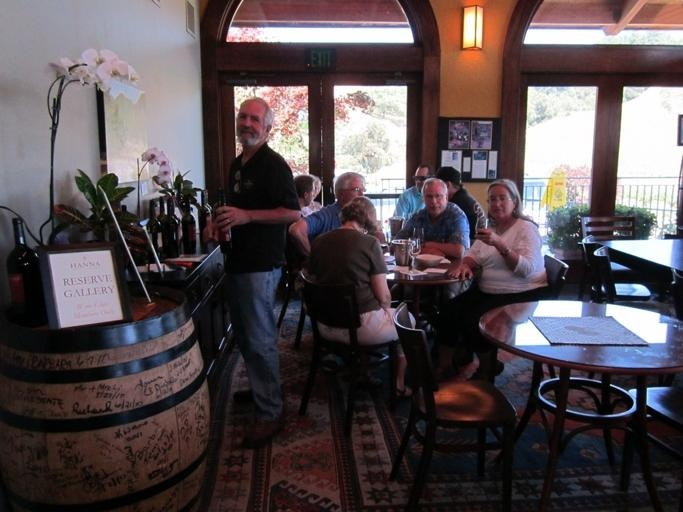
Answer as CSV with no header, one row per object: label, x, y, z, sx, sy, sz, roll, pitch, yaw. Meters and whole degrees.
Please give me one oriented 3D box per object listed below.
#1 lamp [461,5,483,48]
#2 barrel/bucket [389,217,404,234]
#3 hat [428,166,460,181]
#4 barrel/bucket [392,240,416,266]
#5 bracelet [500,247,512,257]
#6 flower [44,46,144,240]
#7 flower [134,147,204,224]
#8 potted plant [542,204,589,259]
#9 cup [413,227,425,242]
lamp,1.378,-2.375,5.533,0.235,0.423,0.134,-1,13,-3
barrel/bucket,0.412,-0.244,3.966,0.098,0.144,0.141,4,15,16
hat,0.900,-0.716,4.586,0.132,0.100,0.189,3,9,-6
barrel/bucket,0.409,-0.023,3.557,0.112,0.151,0.173,-1,0,0
bracelet,1.003,-0.017,3.263,0.072,0.049,0.068,19,-4,-3
flower,-1.315,-0.622,2.774,0.511,0.957,1.102,-6,15,-21
flower,-1.197,-0.500,3.772,0.330,0.525,0.293,-11,-1,-2
potted plant,2.480,-0.279,6.195,0.592,0.692,0.488,2,4,37
cup,0.540,-0.155,3.659,0.088,0.139,0.092,-2,8,0
